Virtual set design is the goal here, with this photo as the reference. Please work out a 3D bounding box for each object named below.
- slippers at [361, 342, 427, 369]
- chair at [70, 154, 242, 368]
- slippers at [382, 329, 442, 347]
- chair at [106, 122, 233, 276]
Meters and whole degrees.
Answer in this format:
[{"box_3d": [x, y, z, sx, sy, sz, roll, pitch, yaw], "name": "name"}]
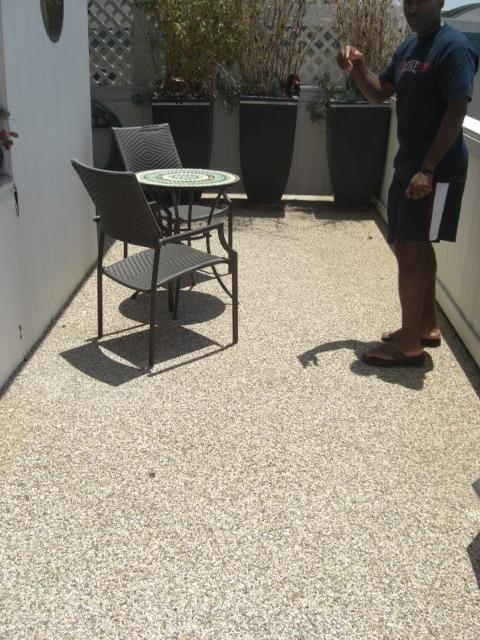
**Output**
[{"box_3d": [0.686, 0.162, 2.489, 0.207, 0.078, 0.119, 3, 3, 2], "name": "slippers"}, {"box_3d": [-0.367, -0.309, 2.621, 0.624, 0.846, 0.521, -21, 29, -41], "name": "chair"}, {"box_3d": [0.823, 0.097, 2.726, 0.275, 0.113, 0.105, 4, 11, 4], "name": "slippers"}, {"box_3d": [-0.400, -0.751, 3.586, 0.510, 0.892, 0.658, -21, 29, -26], "name": "chair"}]
